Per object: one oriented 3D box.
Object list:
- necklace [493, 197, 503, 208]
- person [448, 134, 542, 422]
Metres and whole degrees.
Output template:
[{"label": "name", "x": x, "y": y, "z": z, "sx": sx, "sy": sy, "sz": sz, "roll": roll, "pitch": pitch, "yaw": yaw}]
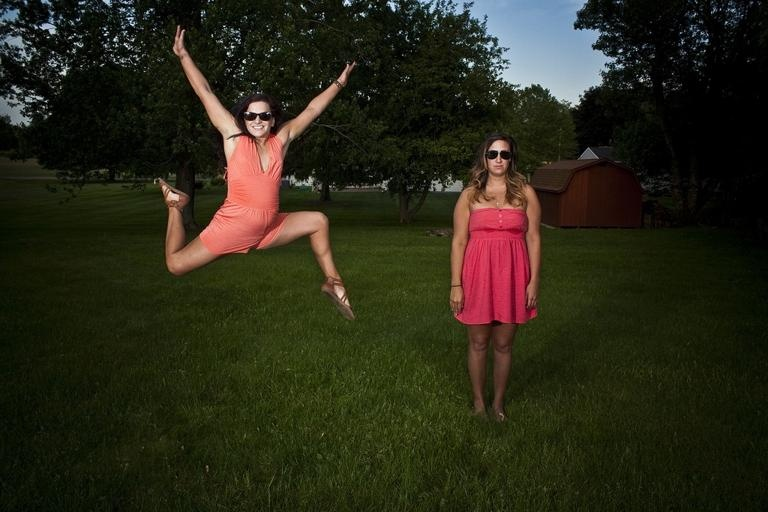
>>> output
[{"label": "necklace", "x": 1.264, "y": -0.595, "z": 5.933, "sx": 0.084, "sy": 0.092, "sz": 0.021, "roll": -6, "pitch": -20, "yaw": 25}, {"label": "person", "x": 1.253, "y": 0.292, "z": 6.094, "sx": 0.983, "sy": 3.301, "sz": 0.466, "roll": 2, "pitch": 8, "yaw": 11}]
